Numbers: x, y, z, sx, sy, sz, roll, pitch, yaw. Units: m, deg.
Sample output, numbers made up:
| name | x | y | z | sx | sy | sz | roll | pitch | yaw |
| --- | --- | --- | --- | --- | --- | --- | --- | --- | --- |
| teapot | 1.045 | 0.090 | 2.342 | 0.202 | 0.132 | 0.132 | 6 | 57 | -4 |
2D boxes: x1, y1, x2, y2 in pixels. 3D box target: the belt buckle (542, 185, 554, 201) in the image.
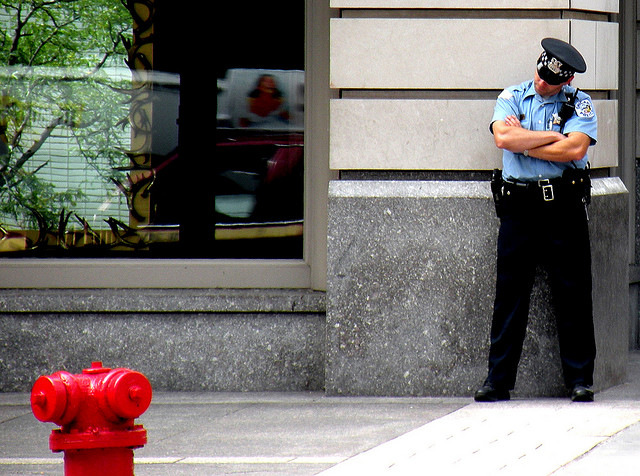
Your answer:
| name | x | y | z | sx | sy | sz | roll | pitch | yaw |
| --- | --- | --- | --- | --- | --- | --- | --- | --- | --- |
| belt buckle | 1.737 | -0.347 | 10.764 | 0.120 | 0.110 | 0.030 | 1 | 5 | 8 |

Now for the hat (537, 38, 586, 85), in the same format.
| name | x | y | z | sx | sy | sz | roll | pitch | yaw |
| --- | --- | --- | --- | --- | --- | --- | --- | --- | --- |
| hat | 1.825 | -1.342 | 10.727 | 0.216 | 0.355 | 0.324 | -5 | 6 | -42 |

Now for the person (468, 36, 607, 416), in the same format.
| name | x | y | z | sx | sy | sz | roll | pitch | yaw |
| --- | --- | --- | --- | --- | --- | --- | --- | --- | --- |
| person | 1.704 | -0.128 | 10.893 | 0.904 | 2.796 | 0.361 | -1 | 4 | 4 |

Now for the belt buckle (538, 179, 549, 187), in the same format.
| name | x | y | z | sx | sy | sz | roll | pitch | yaw |
| --- | --- | --- | --- | --- | --- | --- | --- | --- | --- |
| belt buckle | 1.705 | -0.419 | 10.764 | 0.068 | 0.045 | 0.011 | 1 | -15 | 4 |

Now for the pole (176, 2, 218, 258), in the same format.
| name | x | y | z | sx | sy | sz | roll | pitch | yaw |
| --- | --- | --- | --- | --- | --- | --- | --- | --- | --- |
| pole | -1.021 | -0.904 | 11.886 | 0.368 | 2.121 | 0.138 | -2 | 4 | -6 |

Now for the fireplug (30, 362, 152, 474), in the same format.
| name | x | y | z | sx | sy | sz | roll | pitch | yaw |
| --- | --- | --- | --- | --- | --- | --- | --- | --- | --- |
| fireplug | -1.386 | 1.109 | 9.023 | 0.828 | 0.783 | 0.644 | 0 | -4 | -5 |
